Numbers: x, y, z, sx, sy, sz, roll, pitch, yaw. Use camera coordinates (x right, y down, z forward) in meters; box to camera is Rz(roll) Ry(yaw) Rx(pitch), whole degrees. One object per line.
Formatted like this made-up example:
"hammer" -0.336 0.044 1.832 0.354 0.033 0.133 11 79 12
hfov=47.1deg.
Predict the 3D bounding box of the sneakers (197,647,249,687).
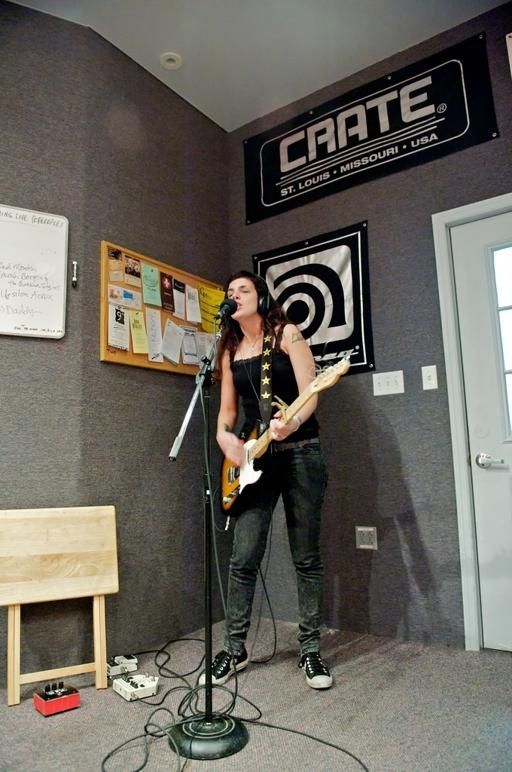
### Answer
"sneakers" -0.103 1.003 2.094 0.094 0.124 0.285 -4 -20 25

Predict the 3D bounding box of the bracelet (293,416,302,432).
"bracelet" 0.134 0.127 1.943 0.016 0.045 0.035 22 -15 -4

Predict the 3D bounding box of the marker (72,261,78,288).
"marker" -0.721 -0.441 2.354 0.024 0.112 0.013 1 -7 -21

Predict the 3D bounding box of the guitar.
"guitar" 0.070 0.209 2.025 0.237 0.484 0.728 1 -7 -18

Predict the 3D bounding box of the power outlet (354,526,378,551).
"power outlet" 0.490 0.677 2.599 0.108 0.116 0.017 -7 -15 43
